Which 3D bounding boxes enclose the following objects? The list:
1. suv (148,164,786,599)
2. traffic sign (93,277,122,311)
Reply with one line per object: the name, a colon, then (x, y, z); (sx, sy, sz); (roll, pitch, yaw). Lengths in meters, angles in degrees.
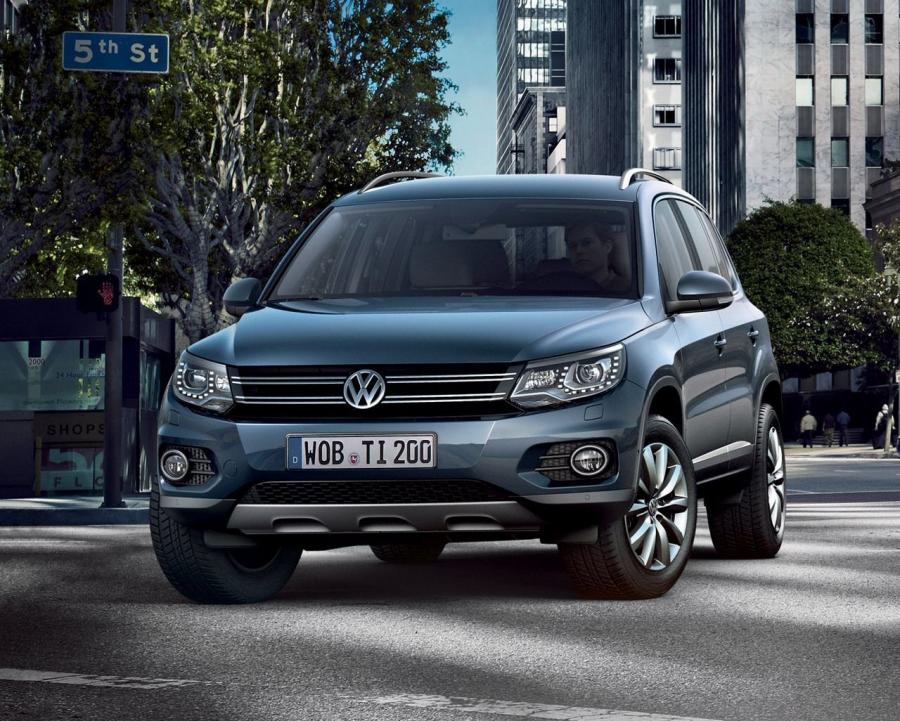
suv: (0.491, 0.117, 6.196); (2.345, 1.840, 3.909); (-2, -7, 14)
traffic sign: (-5.445, -1.078, 14.863); (0.337, 0.554, 0.284); (-2, 2, -30)
